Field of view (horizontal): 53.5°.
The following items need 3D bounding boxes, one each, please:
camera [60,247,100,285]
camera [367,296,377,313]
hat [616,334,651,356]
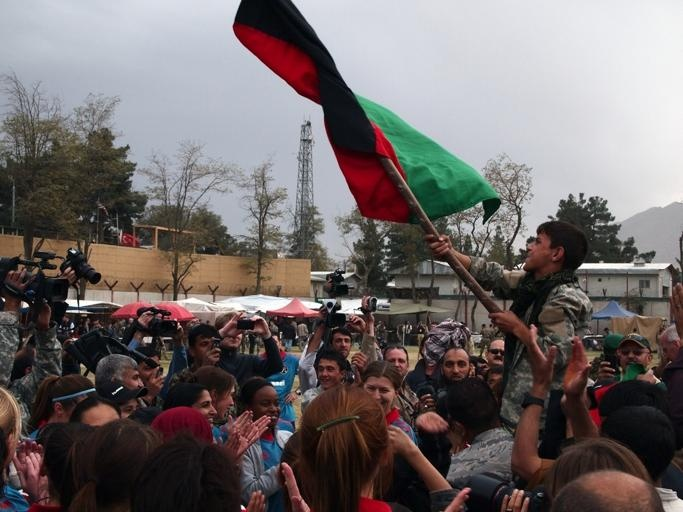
[{"bbox_3d":[-2.489,0.124,6.435,0.317,0.348,0.194,-29,-26,-42],"label":"camera"},{"bbox_3d":[0.393,0.591,8.387,0.129,0.175,0.175,0,-6,0],"label":"camera"},{"bbox_3d":[3.336,0.939,7.646,0.331,0.171,0.227,37,-32,-32],"label":"hat"}]
